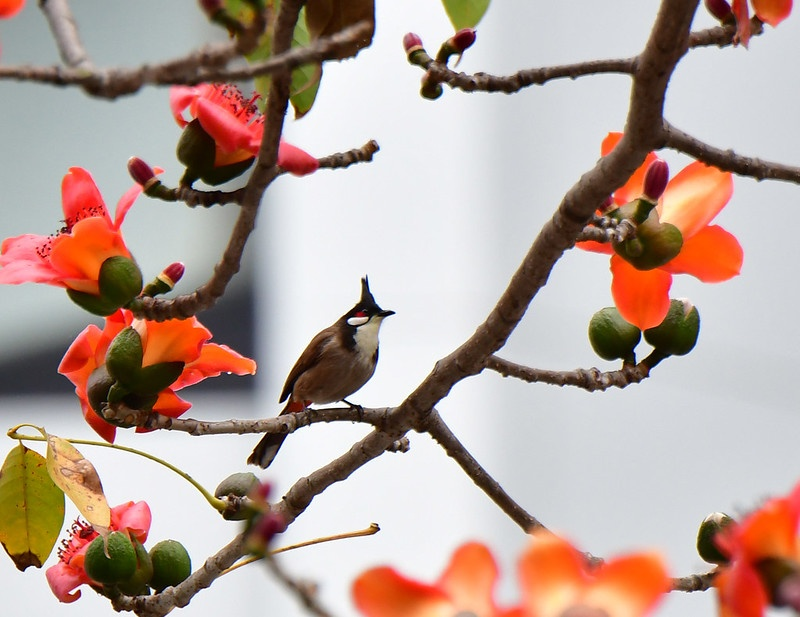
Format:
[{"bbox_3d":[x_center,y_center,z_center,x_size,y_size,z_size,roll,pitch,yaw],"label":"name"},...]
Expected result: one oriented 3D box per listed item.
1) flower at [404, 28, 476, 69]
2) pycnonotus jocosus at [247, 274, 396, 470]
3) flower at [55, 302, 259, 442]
[{"bbox_3d":[0.042,-0.276,1.204,0.088,0.035,0.027,-14,-65,42],"label":"flower"},{"bbox_3d":[-0.096,0.075,1.641,0.115,0.205,0.248,30,-60,-24],"label":"pycnonotus jocosus"},{"bbox_3d":[-0.247,0.063,1.167,0.218,0.180,0.122,1,-73,1],"label":"flower"}]
